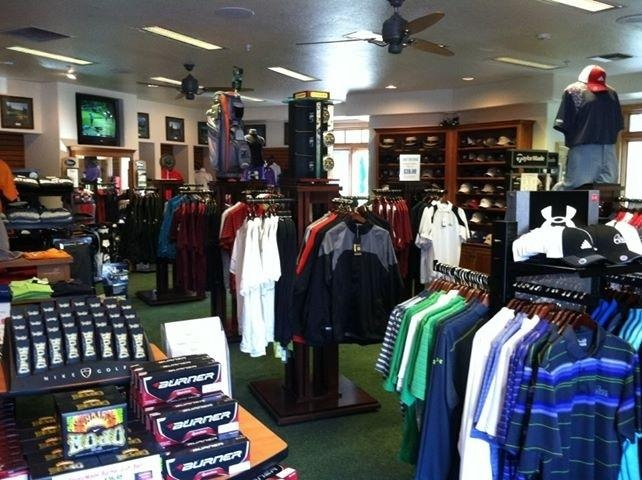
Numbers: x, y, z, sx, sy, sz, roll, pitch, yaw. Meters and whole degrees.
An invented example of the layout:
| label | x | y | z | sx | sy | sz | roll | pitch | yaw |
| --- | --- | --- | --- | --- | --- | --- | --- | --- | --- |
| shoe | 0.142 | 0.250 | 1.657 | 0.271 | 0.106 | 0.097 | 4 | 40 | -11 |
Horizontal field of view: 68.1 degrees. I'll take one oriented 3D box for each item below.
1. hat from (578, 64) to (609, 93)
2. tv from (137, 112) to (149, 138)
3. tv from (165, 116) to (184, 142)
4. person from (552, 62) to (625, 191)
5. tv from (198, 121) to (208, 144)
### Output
| label | x | y | z | sx | sy | sz | roll | pitch | yaw |
| --- | --- | --- | --- | --- | --- | --- | --- | --- | --- |
| hat | 2.616 | -1.531 | 4.524 | 0.271 | 0.278 | 0.225 | 1 | 8 | 5 |
| tv | -4.379 | -2.819 | 11.736 | 0.034 | 0.644 | 0.373 | 6 | 10 | 33 |
| tv | -3.880 | -2.929 | 12.480 | 0.058 | 0.727 | 0.776 | 4 | 4 | 32 |
| person | 2.601 | -1.079 | 4.602 | 0.635 | 1.175 | 0.367 | 3 | 9 | 17 |
| tv | -3.321 | -2.993 | 13.311 | 0.160 | 0.662 | 0.316 | 3 | 9 | 20 |
